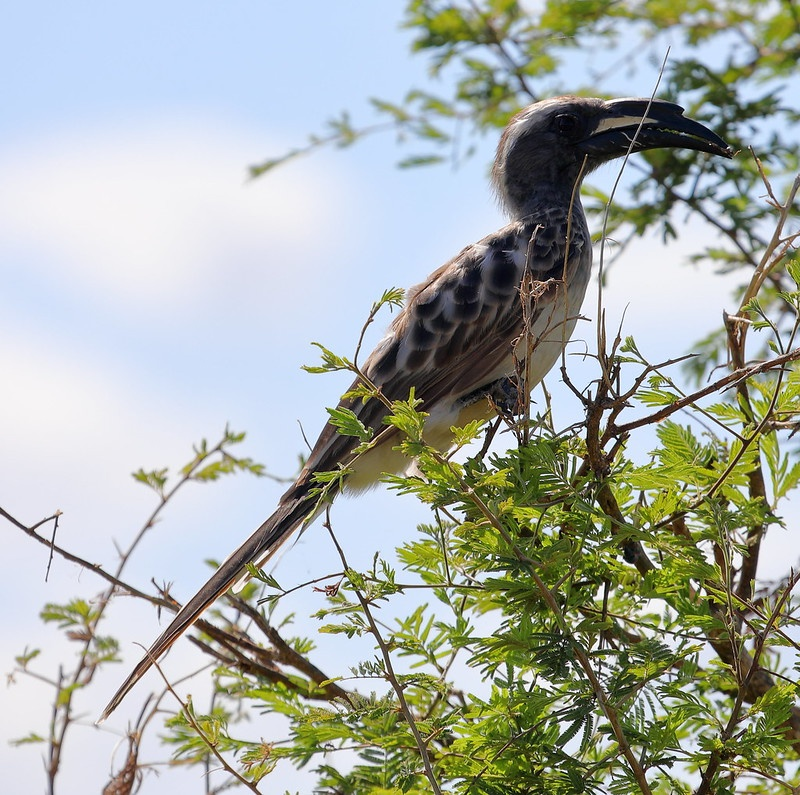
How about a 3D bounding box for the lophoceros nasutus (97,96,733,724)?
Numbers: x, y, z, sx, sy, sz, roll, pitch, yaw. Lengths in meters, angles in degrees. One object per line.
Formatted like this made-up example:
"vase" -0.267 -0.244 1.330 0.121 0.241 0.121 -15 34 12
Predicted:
"lophoceros nasutus" 0.294 -0.322 4.921 1.881 2.530 0.657 -33 -62 29
